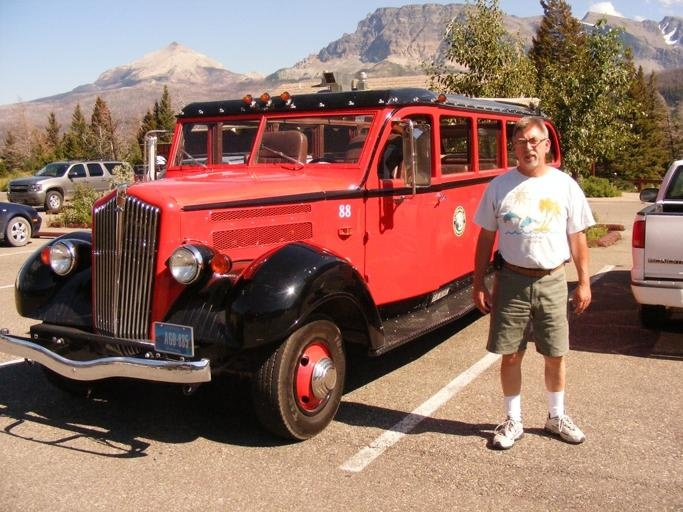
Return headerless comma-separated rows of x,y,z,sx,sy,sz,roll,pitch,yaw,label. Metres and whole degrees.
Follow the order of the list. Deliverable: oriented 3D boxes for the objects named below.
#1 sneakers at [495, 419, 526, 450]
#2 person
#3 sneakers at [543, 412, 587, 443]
1.360,1.428,4.200,0.133,0.143,0.328,-5,-1,35,sneakers
1.480,0.216,4.065,0.864,2.574,0.471,1,10,14,person
1.792,1.393,4.225,0.306,0.153,0.151,16,25,37,sneakers
